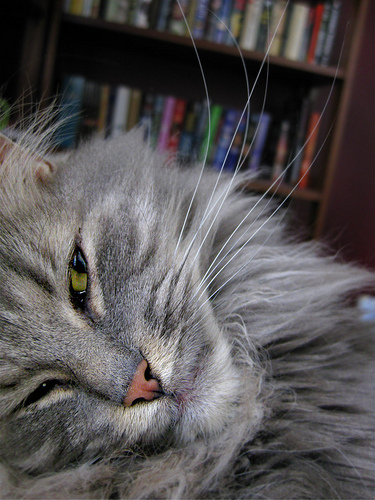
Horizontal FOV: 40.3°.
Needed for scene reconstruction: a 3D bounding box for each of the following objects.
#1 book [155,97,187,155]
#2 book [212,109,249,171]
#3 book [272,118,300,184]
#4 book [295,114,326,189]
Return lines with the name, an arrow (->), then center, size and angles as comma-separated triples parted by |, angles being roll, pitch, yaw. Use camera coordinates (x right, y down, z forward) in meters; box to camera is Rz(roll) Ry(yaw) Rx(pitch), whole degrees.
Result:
book -> -0.051, -0.310, 1.245 | 0.040, 0.116, 0.121 | 22, 0, -1
book -> 0.114, -0.258, 1.226 | 0.075, 0.130, 0.136 | 12, 12, 14
book -> 0.269, -0.234, 1.384 | 0.060, 0.174, 0.183 | 5, -17, 21
book -> 0.318, -0.289, 1.454 | 0.074, 0.207, 0.215 | -2, 12, -2
